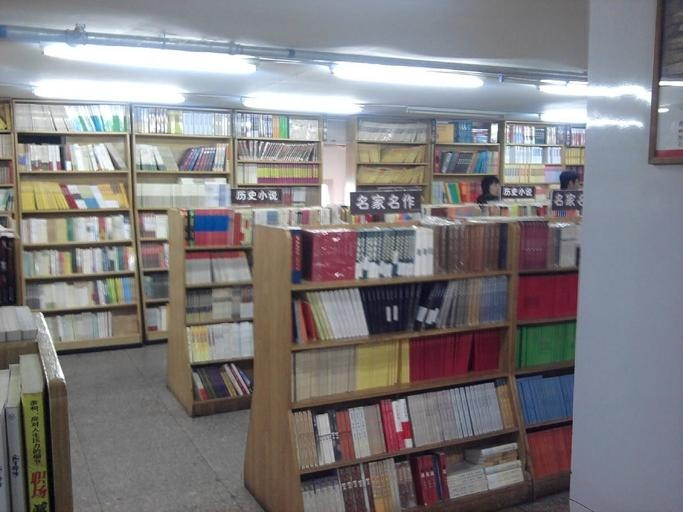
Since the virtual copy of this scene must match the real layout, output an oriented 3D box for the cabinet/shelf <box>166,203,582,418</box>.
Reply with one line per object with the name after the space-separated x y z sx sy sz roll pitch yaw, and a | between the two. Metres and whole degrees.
0.246 0.408 4.075 1.768 1.081 1.204 -2 3 -24 | cabinet/shelf
